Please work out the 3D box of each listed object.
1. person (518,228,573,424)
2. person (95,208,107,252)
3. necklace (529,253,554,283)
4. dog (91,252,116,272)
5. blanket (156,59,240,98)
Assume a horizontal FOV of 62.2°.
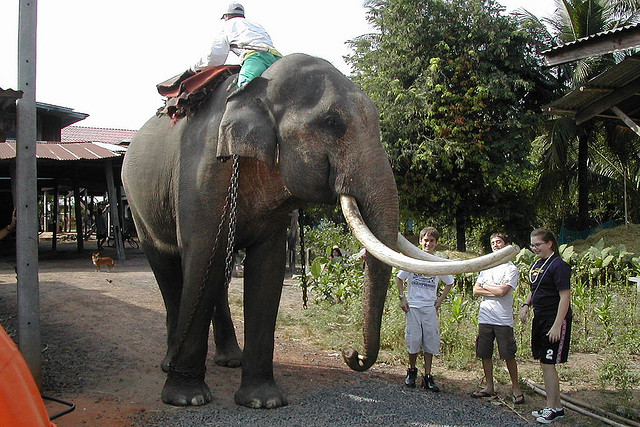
[{"bbox_3d":[2.465,1.178,5.682,0.413,2.010,0.450,1,-2,23],"label":"person"},{"bbox_3d":[-7.701,0.491,18.724,0.359,1.364,0.313,-1,-2,6],"label":"person"},{"bbox_3d":[2.470,0.639,5.937,0.026,0.293,0.199,24,8,-20],"label":"necklace"},{"bbox_3d":[-5.198,1.178,12.749,0.451,0.407,1.222,2,-2,-22],"label":"dog"},{"bbox_3d":[-1.259,-1.613,5.918,0.838,0.237,0.336,1,-37,11],"label":"blanket"}]
